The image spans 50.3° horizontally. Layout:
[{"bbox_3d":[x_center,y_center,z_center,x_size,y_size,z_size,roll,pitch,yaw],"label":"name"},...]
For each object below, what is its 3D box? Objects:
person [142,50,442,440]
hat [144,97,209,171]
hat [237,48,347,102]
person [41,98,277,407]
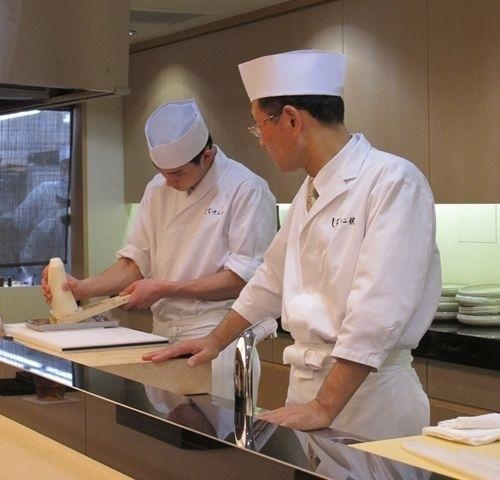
[{"bbox_3d":[0.122,-0.009,1.196,0.449,0.846,0.535,-3,6,-37],"label":"person"},{"bbox_3d":[-0.237,-0.369,1.871,0.157,0.266,0.216,-10,16,-34],"label":"hat"},{"bbox_3d":[0.103,-0.364,1.252,0.152,0.130,0.235,-9,13,-34],"label":"hat"},{"bbox_3d":[-0.274,-0.038,1.843,0.555,1.395,0.513,0,-1,-38],"label":"person"}]
